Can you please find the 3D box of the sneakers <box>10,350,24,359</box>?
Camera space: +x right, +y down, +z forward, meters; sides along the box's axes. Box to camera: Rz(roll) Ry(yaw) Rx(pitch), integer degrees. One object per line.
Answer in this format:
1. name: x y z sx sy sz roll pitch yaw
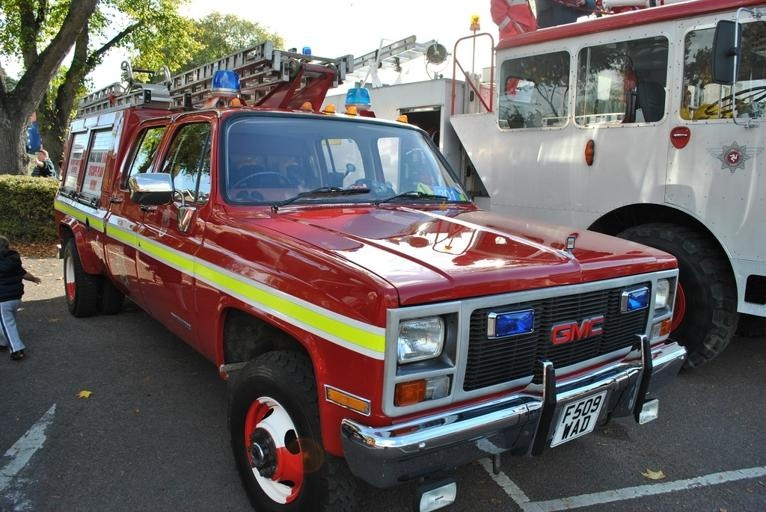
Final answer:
1. sneakers: -3.911 1.064 5.480 0.170 0.068 0.062 0 2 36
